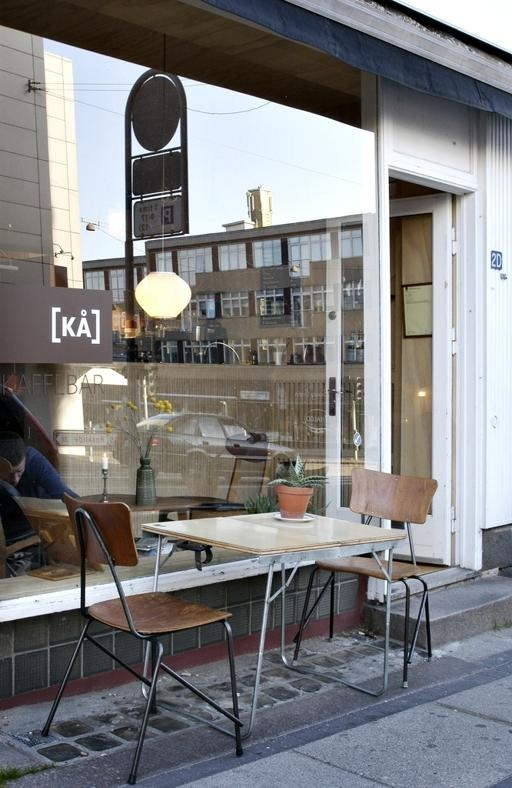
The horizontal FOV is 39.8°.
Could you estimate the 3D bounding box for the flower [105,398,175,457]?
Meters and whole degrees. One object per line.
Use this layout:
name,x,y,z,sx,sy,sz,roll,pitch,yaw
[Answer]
flower,-0.561,0.155,3.380,0.266,0.287,0.230,-3,2,-16

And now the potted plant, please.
potted plant,0.191,0.423,3.167,0.226,0.279,0.209,5,-7,25

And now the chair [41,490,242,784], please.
chair,-0.384,0.804,2.542,0.689,0.854,0.785,7,-8,-40
